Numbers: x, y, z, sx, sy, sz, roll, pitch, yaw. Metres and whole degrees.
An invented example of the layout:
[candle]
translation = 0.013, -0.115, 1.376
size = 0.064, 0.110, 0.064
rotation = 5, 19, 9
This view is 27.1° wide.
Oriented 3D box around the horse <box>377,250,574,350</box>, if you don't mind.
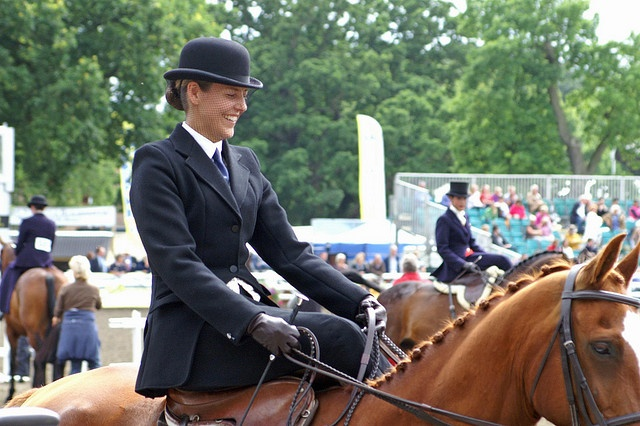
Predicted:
[horse]
translation = 3.834, 3.008, 36.938
size = 7.638, 2.973, 3.725
rotation = -4, -2, 13
